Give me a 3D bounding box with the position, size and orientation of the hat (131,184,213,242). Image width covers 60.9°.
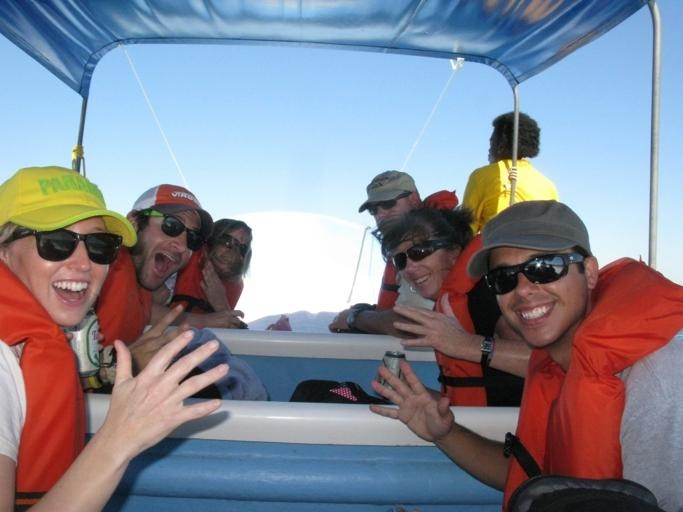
[{"bbox_3d":[-1.056,-0.277,3.637,0.469,0.224,0.331,-18,-26,40],"label":"hat"}]

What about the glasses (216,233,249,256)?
[{"bbox_3d":[-0.791,-0.093,4.286,0.174,0.048,0.168,11,-16,48],"label":"glasses"}]

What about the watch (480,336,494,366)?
[{"bbox_3d":[0.664,0.433,2.638,0.078,0.109,0.113,6,14,14],"label":"watch"}]

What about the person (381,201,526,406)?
[{"bbox_3d":[0.631,0.248,3.008,0.735,0.931,0.418,-23,-25,22],"label":"person"}]

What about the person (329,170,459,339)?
[{"bbox_3d":[0.373,-0.110,4.230,0.973,1.173,0.508,-13,18,-35],"label":"person"}]

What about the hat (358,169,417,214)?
[{"bbox_3d":[0.359,-0.514,4.543,0.298,0.197,0.406,-19,-6,42],"label":"hat"}]

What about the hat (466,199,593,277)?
[{"bbox_3d":[0.699,-0.066,2.111,0.335,0.156,0.249,13,-24,-31],"label":"hat"}]
